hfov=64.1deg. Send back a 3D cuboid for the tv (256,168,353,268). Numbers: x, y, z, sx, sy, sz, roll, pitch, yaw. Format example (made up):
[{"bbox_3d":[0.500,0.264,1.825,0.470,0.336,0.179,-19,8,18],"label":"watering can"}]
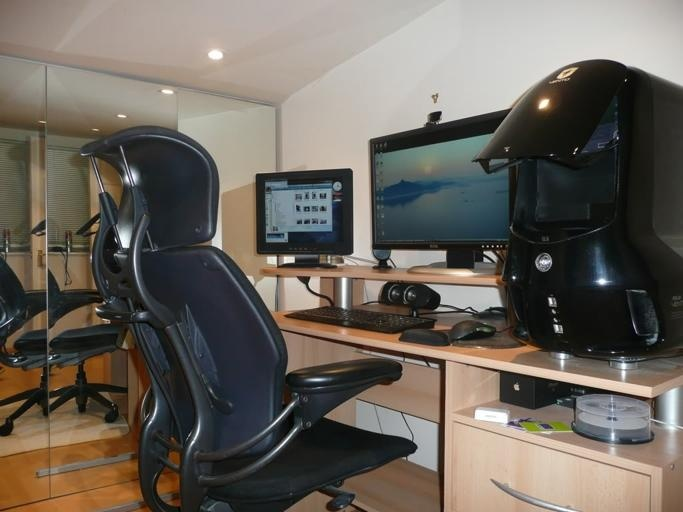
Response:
[{"bbox_3d":[-0.181,-0.196,2.705,0.530,0.492,0.172,-1,-2,15],"label":"tv"}]

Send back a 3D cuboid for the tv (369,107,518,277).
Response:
[{"bbox_3d":[0.405,-0.242,2.153,0.793,0.708,0.262,1,2,43],"label":"tv"}]
